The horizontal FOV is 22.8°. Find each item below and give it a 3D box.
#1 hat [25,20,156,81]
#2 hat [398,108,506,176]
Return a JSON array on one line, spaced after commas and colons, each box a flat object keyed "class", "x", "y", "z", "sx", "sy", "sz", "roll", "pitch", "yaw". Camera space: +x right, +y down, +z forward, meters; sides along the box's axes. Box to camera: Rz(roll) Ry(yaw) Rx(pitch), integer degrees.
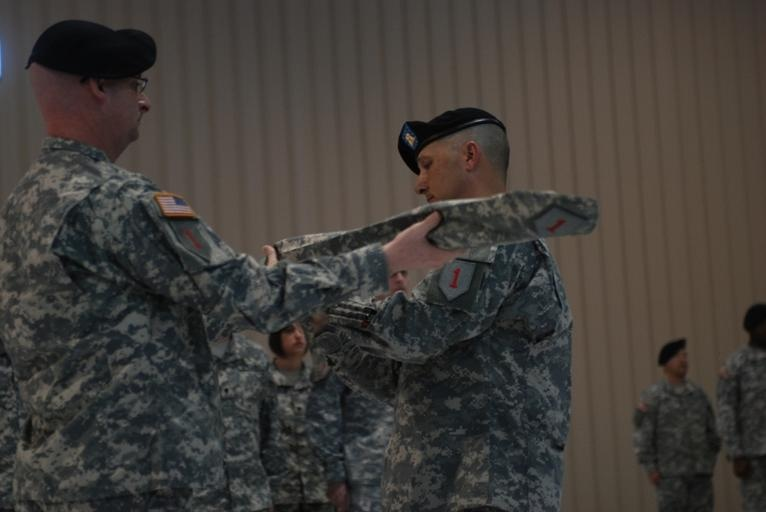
[{"class": "hat", "x": -1.744, "y": -1.284, "z": 11.739, "sx": 0.494, "sy": 0.174, "sz": 0.487, "roll": -15, "pitch": 24, "yaw": -29}, {"class": "hat", "x": 0.438, "y": -0.740, "z": 12.332, "sx": 0.575, "sy": 0.248, "sz": 0.426, "roll": -27, "pitch": 1, "yaw": 8}]
